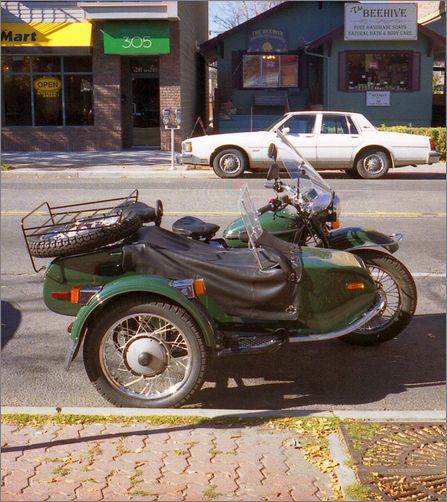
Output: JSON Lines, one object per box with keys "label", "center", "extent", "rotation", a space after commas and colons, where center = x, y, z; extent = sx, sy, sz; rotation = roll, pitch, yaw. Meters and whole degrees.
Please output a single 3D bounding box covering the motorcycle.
{"label": "motorcycle", "center": [0.091, 0.071, 3.994], "extent": [2.954, 1.319, 1.344], "rotation": [-2, 17, -15]}
